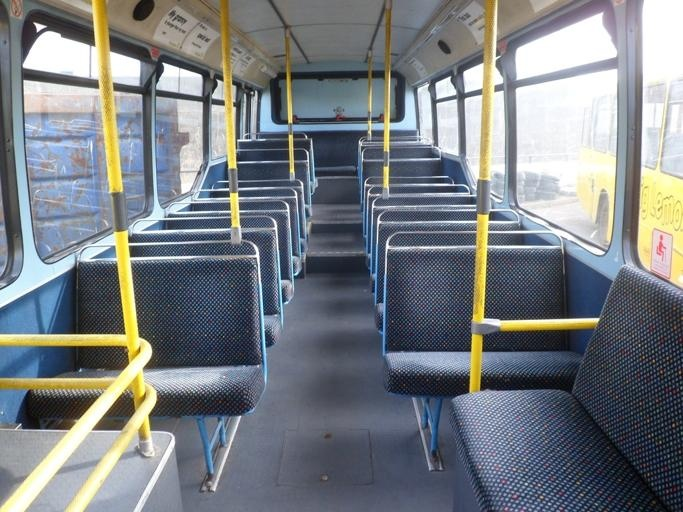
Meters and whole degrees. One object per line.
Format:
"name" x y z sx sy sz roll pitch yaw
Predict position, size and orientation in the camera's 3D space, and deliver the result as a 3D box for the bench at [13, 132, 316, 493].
"bench" -1.106 0.360 3.789 0.964 1.343 1.932 -1 7 3
